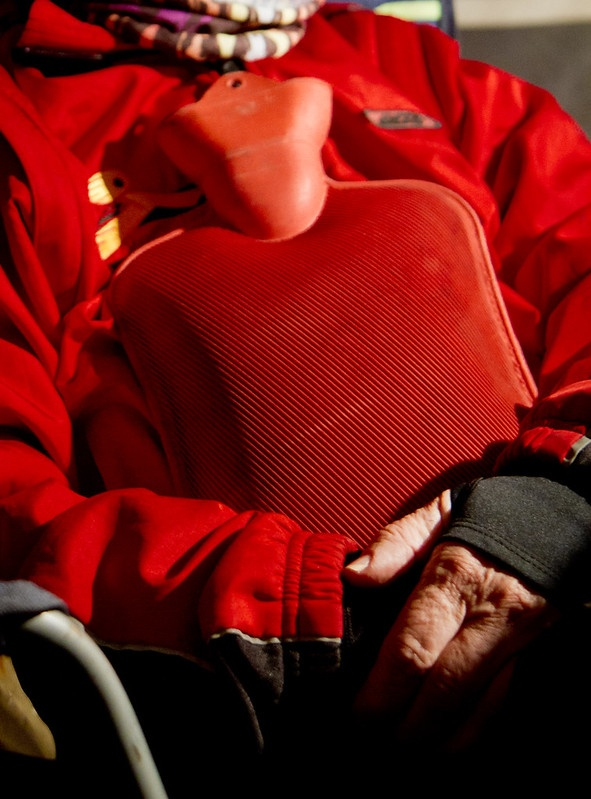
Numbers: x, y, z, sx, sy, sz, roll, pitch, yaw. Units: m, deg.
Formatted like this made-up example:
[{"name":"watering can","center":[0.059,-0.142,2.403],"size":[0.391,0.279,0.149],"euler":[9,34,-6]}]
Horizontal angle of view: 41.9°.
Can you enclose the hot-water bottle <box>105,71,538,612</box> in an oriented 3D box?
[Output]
[{"name":"hot-water bottle","center":[0.020,-0.040,0.609],"size":[0.291,0.100,0.363],"euler":[-20,70,-5]}]
